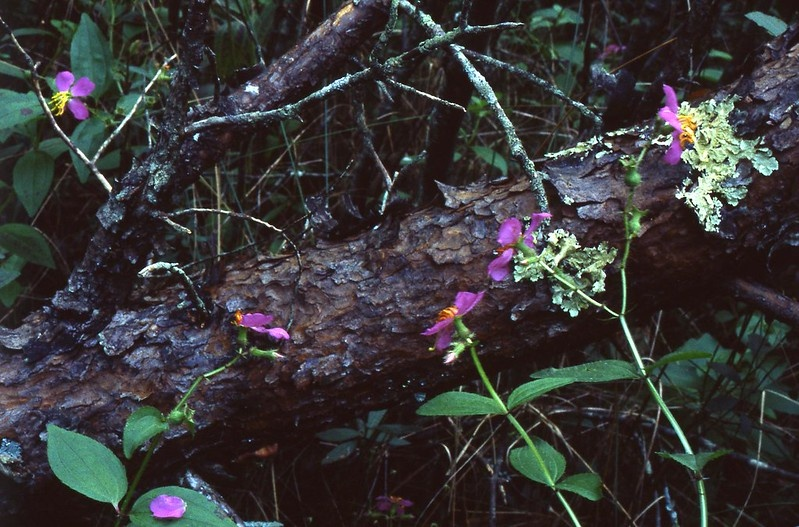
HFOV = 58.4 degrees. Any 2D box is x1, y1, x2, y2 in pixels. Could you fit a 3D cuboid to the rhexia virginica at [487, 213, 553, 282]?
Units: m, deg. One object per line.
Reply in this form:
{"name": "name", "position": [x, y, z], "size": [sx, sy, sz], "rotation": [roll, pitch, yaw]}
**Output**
{"name": "rhexia virginica", "position": [0.391, -0.081, 2.516], "size": [0.218, 0.242, 0.087], "rotation": [-26, 36, -17]}

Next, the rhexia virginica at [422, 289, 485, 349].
{"name": "rhexia virginica", "position": [0.190, 0.188, 2.537], "size": [0.197, 0.093, 0.214], "rotation": [-26, 6, -20]}
